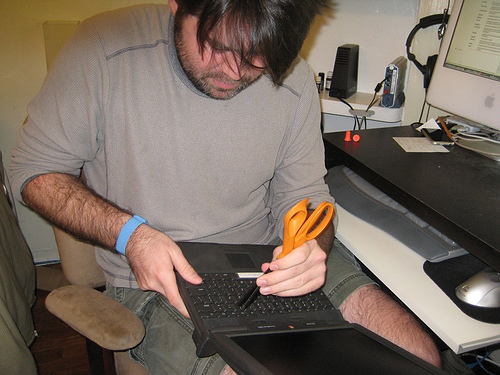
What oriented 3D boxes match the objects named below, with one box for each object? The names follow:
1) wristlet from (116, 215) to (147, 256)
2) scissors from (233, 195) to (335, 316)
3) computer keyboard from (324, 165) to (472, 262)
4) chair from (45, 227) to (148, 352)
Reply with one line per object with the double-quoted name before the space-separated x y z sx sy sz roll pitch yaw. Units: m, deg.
"wristlet" -0.313 0.119 0.977 0.082 0.089 0.020 23 -1 -44
"scissors" 0.081 0.148 0.894 0.103 0.050 0.348 24 56 38
"computer keyboard" 0.394 0.068 1.160 0.157 0.074 0.524 -22 37 -28
"chair" -0.351 0.216 0.919 0.197 0.250 0.190 30 26 10
